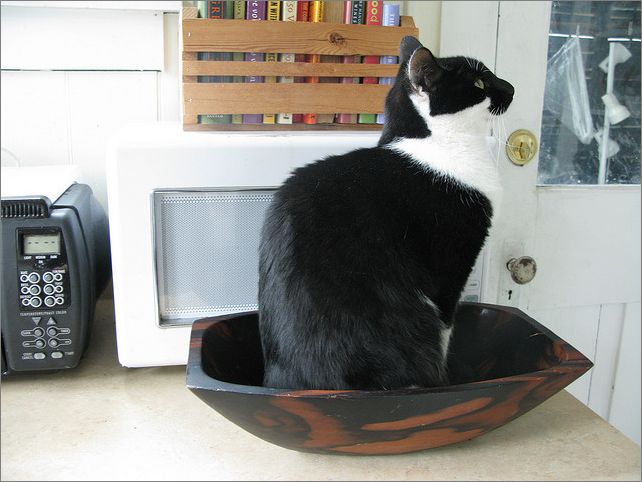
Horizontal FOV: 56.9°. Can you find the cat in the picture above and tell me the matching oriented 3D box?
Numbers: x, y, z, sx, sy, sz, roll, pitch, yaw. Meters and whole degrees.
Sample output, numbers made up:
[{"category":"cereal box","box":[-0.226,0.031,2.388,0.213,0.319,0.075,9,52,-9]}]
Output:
[{"category":"cat","box":[0.101,-0.037,0.949,0.451,0.497,0.335,-10,16,-5]}]

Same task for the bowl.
[{"category":"bowl","box":[0.086,0.207,0.892,0.557,0.170,0.264,-3,10,-12]}]

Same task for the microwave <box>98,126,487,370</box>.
[{"category":"microwave","box":[-0.092,0.057,1.201,0.803,0.432,0.416,-3,19,-9]}]
